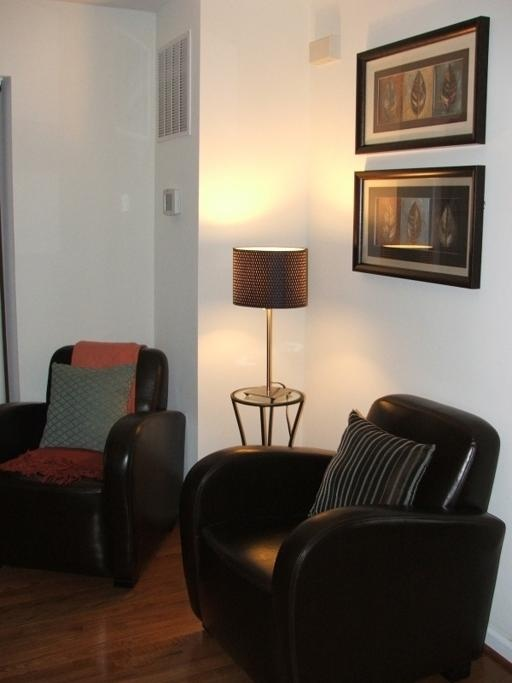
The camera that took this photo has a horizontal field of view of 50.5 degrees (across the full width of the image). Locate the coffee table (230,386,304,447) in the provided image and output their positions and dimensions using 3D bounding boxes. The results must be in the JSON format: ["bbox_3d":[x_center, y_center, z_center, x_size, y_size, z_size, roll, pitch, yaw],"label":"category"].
[{"bbox_3d":[0.048,0.357,2.507,0.297,0.377,0.321,0,14,-1],"label":"coffee table"}]

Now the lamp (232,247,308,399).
[{"bbox_3d":[0.078,-0.092,2.405,0.317,0.687,0.414,1,1,25],"label":"lamp"}]

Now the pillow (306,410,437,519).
[{"bbox_3d":[0.310,0.393,1.497,0.080,0.303,0.277,21,-3,-23],"label":"pillow"}]

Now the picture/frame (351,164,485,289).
[{"bbox_3d":[0.561,-0.439,2.018,0.067,0.522,0.750,0,1,-21],"label":"picture/frame"}]

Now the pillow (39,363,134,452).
[{"bbox_3d":[-0.765,0.288,2.380,0.355,0.402,0.119,-2,-15,9],"label":"pillow"}]

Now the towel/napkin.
[{"bbox_3d":[-0.773,0.269,2.407,0.392,0.584,0.507,-1,-6,18],"label":"towel/napkin"}]

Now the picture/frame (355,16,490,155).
[{"bbox_3d":[0.568,-0.877,1.930,0.040,0.357,0.549,-13,19,-30],"label":"picture/frame"}]
